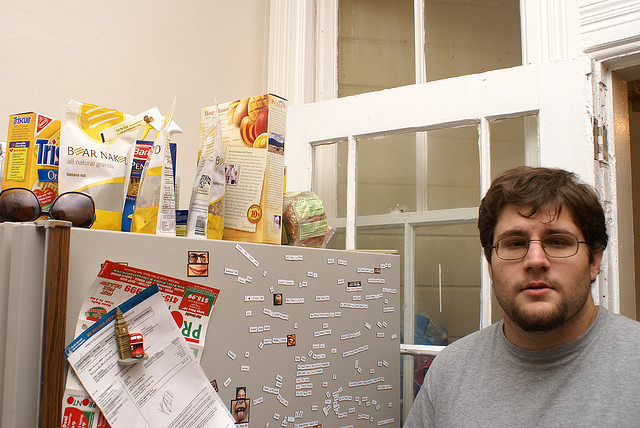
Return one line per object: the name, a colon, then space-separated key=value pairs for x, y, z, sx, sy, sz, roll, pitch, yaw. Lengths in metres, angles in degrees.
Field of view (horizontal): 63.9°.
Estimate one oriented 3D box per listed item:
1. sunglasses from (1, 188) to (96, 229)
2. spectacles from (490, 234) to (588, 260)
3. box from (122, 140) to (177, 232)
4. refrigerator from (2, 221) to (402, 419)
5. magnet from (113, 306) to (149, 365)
sunglasses: x=-0.613 y=-0.014 z=1.143 sx=0.202 sy=0.072 sz=0.065 roll=-1 pitch=0 yaw=9
spectacles: x=0.531 y=0.080 z=1.257 sx=0.196 sy=0.066 sz=0.052 roll=-1 pitch=0 yaw=26
box: x=-0.452 y=-0.076 z=1.247 sx=0.117 sy=0.219 sz=0.087 roll=2 pitch=5 yaw=-42
refrigerator: x=-0.201 y=0.313 z=1.274 sx=0.995 sy=0.440 sz=0.151 roll=-1 pitch=0 yaw=-38
magnet: x=-0.407 y=0.261 z=1.100 sx=0.069 sy=0.110 sz=0.044 roll=-4 pitch=-6 yaw=-38
